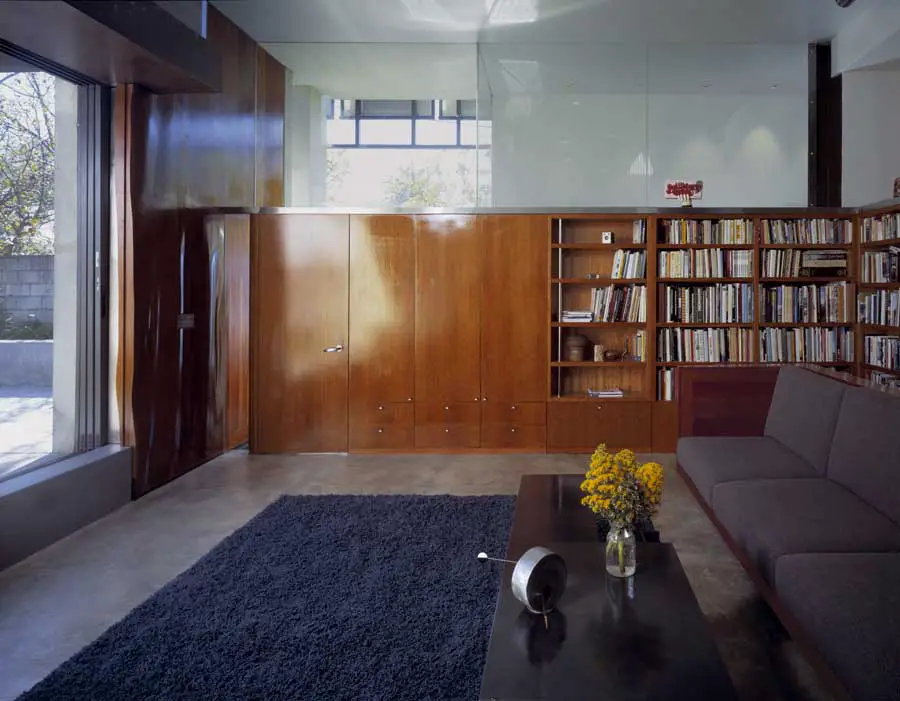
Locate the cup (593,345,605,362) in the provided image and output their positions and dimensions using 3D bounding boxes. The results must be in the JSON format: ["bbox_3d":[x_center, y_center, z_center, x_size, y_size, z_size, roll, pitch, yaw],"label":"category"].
[{"bbox_3d":[1.442,0.033,6.589,0.119,0.232,0.170,-1,-2,18],"label":"cup"}]

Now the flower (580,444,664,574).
[{"bbox_3d":[0.869,0.795,3.442,0.395,0.650,0.399,2,-2,36],"label":"flower"}]
